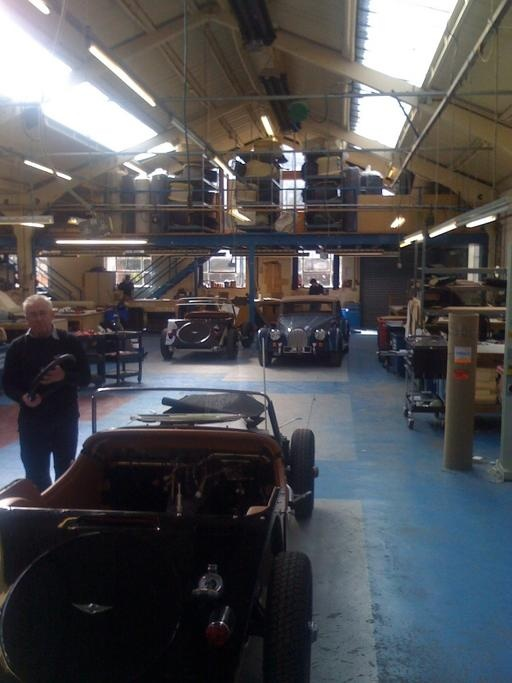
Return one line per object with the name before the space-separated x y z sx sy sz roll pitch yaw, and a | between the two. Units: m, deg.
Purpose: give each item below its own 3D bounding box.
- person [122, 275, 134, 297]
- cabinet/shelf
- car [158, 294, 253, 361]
person | -4.640 -1.983 20.017 0.302 0.808 0.792 -5 8 3
cabinet/shelf | -2.526 0.295 10.118 0.695 0.889 0.935 -2 2 -28
car | -1.048 -0.337 13.519 1.464 1.136 2.561 1 7 7
